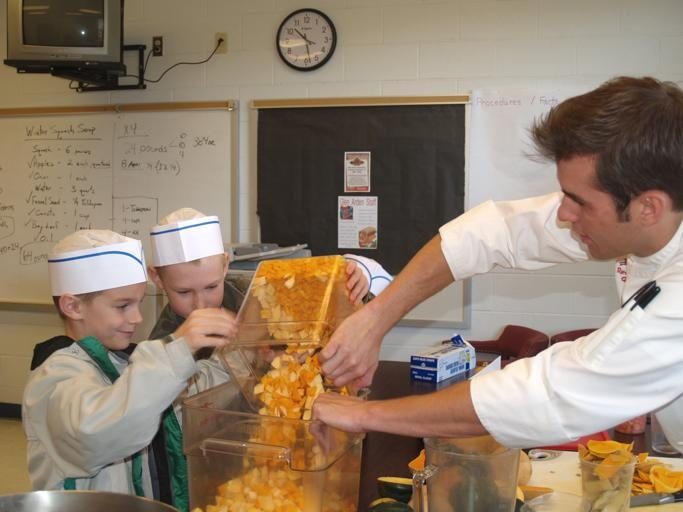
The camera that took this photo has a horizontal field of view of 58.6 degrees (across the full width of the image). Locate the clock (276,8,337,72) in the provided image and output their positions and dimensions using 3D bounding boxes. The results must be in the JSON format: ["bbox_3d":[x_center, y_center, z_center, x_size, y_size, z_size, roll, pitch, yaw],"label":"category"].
[{"bbox_3d":[-0.196,-1.298,3.666,0.307,0.293,0.032,-25,6,16],"label":"clock"}]

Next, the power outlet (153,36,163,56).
[{"bbox_3d":[-1.176,-1.327,3.885,0.079,0.121,0.023,1,9,23],"label":"power outlet"}]

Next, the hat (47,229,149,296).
[{"bbox_3d":[-0.715,0.036,1.801,0.227,0.141,0.222,-8,3,-14],"label":"hat"}]

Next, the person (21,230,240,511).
[{"bbox_3d":[-0.595,0.334,1.667,0.451,0.784,0.685,-9,10,-42],"label":"person"}]
